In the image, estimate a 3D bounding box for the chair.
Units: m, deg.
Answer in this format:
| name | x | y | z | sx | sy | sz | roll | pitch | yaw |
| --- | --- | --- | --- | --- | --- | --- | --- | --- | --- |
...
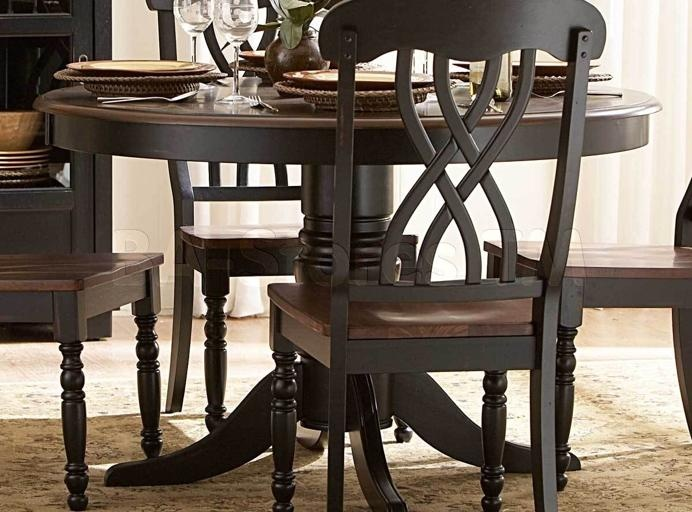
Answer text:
| name | x | y | z | sx | sy | sz | roll | pitch | yaw |
| --- | --- | --- | --- | --- | --- | --- | --- | --- | --- |
| chair | -0.067 | 0.004 | 1.947 | 1.200 | 0.814 | 1.067 | 0 | 8 | -3 |
